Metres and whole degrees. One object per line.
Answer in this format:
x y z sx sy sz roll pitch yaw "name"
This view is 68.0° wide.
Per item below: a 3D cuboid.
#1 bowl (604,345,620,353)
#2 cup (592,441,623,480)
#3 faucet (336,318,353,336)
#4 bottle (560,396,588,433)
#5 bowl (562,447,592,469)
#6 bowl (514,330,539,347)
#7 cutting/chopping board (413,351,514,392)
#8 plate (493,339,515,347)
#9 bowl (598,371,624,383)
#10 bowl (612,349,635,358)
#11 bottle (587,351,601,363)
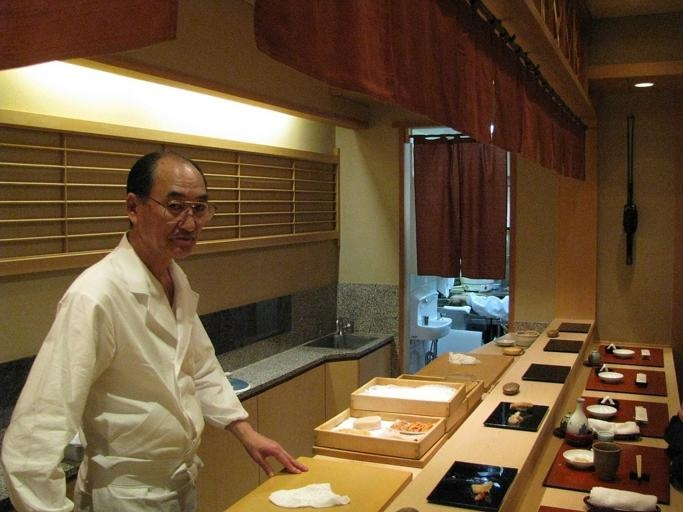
2.152 0.728 4.038 0.067 0.055 0.067 -2 6 0 "bowl"
1.084 0.848 2.144 0.128 0.150 0.136 1 0 0 "cup"
0.027 0.697 5.068 0.181 0.157 0.198 -4 1 -1 "faucet"
1.130 0.756 2.427 0.109 0.114 0.087 -4 1 -23 "bottle"
1.065 0.911 2.283 0.119 0.045 0.179 -4 1 23 "bowl"
1.586 0.711 4.360 0.189 0.090 0.308 -4 1 17 "bowl"
0.952 0.819 3.806 0.542 0.157 0.923 -4 1 31 "cutting/chopping board"
1.419 0.751 4.405 0.168 0.041 0.123 -4 1 18 "plate"
1.783 0.807 3.375 0.160 0.041 0.170 -4 0 0 "bowl"
2.168 0.750 3.887 0.137 0.037 0.151 -4 0 23 "bowl"
1.826 0.726 3.662 0.072 0.072 0.075 -1 7 7 "bottle"
